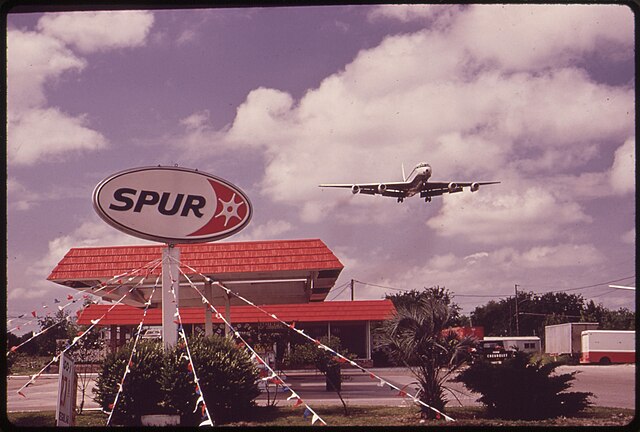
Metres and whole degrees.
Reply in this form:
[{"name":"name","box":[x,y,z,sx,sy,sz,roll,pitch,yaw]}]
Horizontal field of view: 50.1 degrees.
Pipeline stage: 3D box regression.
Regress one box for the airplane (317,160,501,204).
[{"name":"airplane","box":[7.473,-1.975,52.891,7.221,2.046,6.950,-13,-16,42]}]
